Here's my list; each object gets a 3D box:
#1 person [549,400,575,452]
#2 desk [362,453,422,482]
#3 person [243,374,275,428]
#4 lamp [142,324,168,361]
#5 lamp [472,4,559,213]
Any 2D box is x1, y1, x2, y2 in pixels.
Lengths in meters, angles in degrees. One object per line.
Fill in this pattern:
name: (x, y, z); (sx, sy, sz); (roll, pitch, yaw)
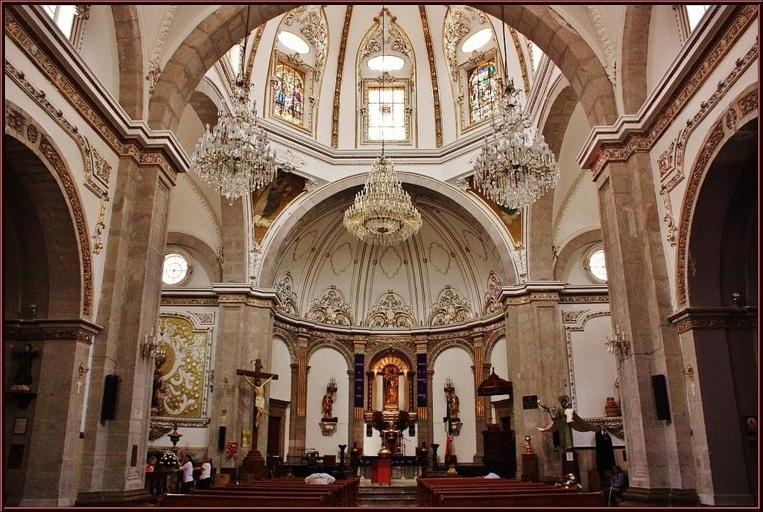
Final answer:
person: (4.896, 4.437, 14.639); (0.439, 1.447, 0.662); (36, -45, -26)
desk: (0.358, 7.460, 19.314); (2.211, 1.012, 3.521); (1, -23, -1)
person: (-4.027, 4.796, 18.145); (0.523, 1.442, 1.195); (-7, -24, 19)
lamp: (-4.691, 1.801, 11.326); (0.378, 0.641, 0.523); (19, -16, -38)
lamp: (3.169, -4.001, 13.578); (1.741, 5.654, 1.735); (-15, -22, 39)
